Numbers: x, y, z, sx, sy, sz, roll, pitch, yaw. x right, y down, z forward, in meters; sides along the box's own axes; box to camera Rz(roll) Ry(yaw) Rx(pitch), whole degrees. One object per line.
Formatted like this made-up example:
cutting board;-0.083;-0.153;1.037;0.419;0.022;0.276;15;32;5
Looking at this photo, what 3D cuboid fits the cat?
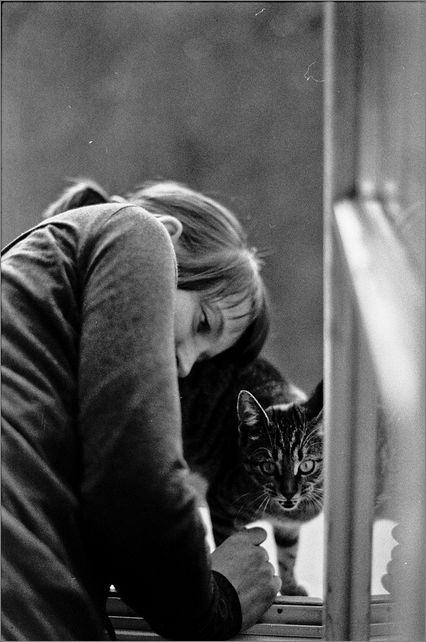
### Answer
cat;0.079;0.317;1.814;0.165;0.532;0.527;0;14;-14
